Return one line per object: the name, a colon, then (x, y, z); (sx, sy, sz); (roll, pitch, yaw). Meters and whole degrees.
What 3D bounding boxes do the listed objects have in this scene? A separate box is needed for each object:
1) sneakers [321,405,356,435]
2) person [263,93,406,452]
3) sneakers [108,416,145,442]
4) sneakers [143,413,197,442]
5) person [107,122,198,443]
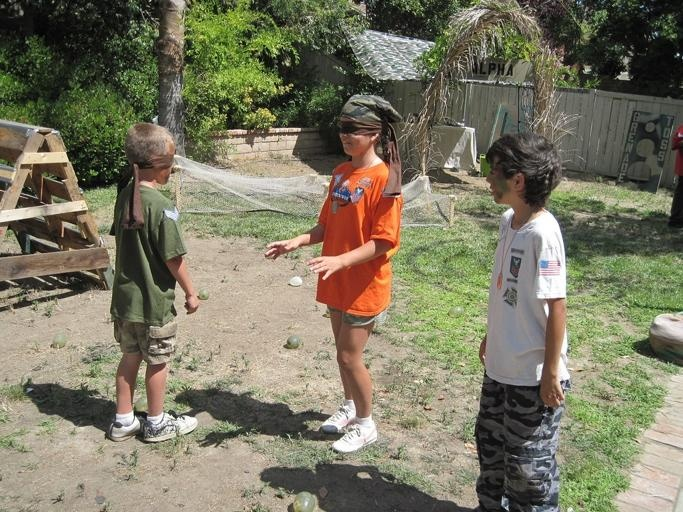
sneakers: (-0.030, 1.407, 4.911); (0.144, 0.183, 0.399); (21, 20, 38)
person: (0.027, 0.166, 4.548); (0.759, 2.840, 0.711); (6, 10, 4)
sneakers: (-1.759, 1.392, 4.748); (0.125, 0.152, 0.338); (5, 10, 25)
sneakers: (-1.415, 1.409, 4.788); (0.439, 0.202, 0.176); (-4, 9, -36)
person: (-1.496, 0.250, 4.560); (0.739, 2.539, 0.405); (5, 10, -3)
